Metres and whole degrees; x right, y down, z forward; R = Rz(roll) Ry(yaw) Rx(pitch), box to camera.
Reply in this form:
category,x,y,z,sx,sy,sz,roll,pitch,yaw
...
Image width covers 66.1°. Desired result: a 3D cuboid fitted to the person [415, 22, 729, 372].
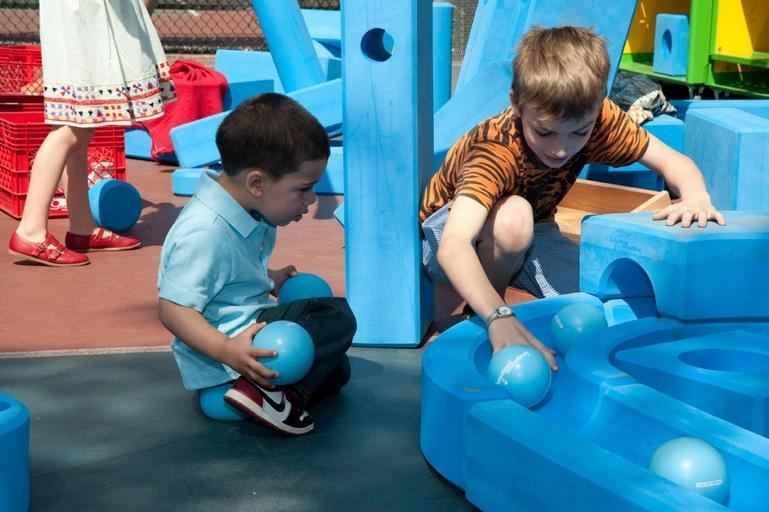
category,x,y,z,sx,sy,sz,roll,pitch,yaw
person,0.661,-0.264,2.033,1.126,1.019,0.906,-7,17,-15

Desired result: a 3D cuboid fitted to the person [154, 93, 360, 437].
category,x,y,z,sx,sy,sz,roll,pitch,yaw
person,-0.398,0.006,1.796,0.500,0.944,0.487,7,20,29

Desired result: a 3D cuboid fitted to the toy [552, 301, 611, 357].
category,x,y,z,sx,sy,sz,roll,pitch,yaw
toy,0.598,0.233,1.837,0.161,0.163,0.097,2,18,15

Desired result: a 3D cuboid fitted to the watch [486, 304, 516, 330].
category,x,y,z,sx,sy,sz,roll,pitch,yaw
watch,0.325,0.174,1.723,0.083,0.073,0.044,-2,57,-13

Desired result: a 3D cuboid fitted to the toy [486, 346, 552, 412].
category,x,y,z,sx,sy,sz,roll,pitch,yaw
toy,0.362,0.322,1.629,0.170,0.190,0.156,-18,58,9

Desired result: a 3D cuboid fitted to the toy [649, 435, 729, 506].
category,x,y,z,sx,sy,sz,roll,pitch,yaw
toy,0.665,0.469,1.297,0.138,0.138,0.121,-9,18,-20

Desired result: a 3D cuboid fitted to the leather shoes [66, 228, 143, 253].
category,x,y,z,sx,sy,sz,roll,pitch,yaw
leather shoes,-1.545,-0.089,3.300,0.404,0.121,0.142,-2,6,-14
